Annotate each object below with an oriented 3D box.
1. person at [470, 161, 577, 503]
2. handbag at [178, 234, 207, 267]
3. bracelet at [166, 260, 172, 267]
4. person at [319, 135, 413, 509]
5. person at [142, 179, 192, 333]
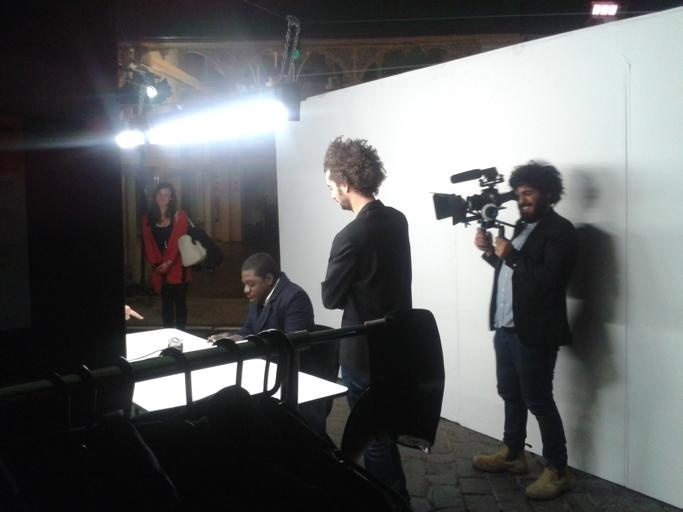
[{"bbox_3d":[1.109,0.394,3.407,0.453,1.931,0.572,-7,7,-42],"label":"person"},{"bbox_3d":[-1.482,-0.082,5.831,0.121,0.225,0.235,-36,19,1],"label":"handbag"},{"bbox_3d":[-1.744,0.064,5.720,0.043,0.057,0.058,0,4,2],"label":"bracelet"},{"bbox_3d":[0.132,0.347,2.939,0.470,1.957,0.836,-1,6,4],"label":"person"},{"bbox_3d":[-1.814,0.012,5.931,0.553,1.546,0.354,2,7,34],"label":"person"}]
